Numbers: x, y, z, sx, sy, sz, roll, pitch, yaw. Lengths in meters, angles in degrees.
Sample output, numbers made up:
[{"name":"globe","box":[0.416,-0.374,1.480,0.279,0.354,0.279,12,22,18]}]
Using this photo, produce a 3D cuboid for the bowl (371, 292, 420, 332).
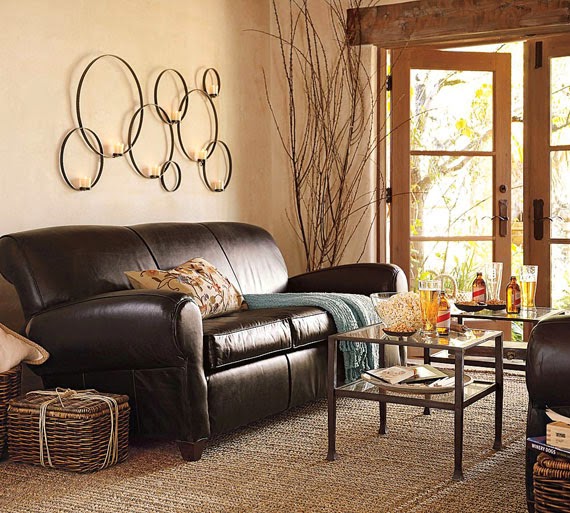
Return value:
[{"name":"bowl","box":[0.441,0.212,1.999,0.151,0.101,0.148,-3,3,0]}]

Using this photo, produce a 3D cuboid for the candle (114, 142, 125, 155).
[{"name":"candle","box":[-0.984,-0.654,3.069,0.067,0.089,0.066,1,8,-4]}]

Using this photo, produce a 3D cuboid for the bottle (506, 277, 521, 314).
[{"name":"bottle","box":[1.122,0.186,2.498,0.068,0.176,0.156,-2,-2,24]}]

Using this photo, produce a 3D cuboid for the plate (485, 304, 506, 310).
[{"name":"plate","box":[1.044,0.246,2.508,0.099,0.038,0.046,-1,-2,2]}]

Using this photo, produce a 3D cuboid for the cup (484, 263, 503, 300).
[{"name":"cup","box":[1.075,0.130,2.626,0.080,0.191,0.183,-2,-2,21]}]

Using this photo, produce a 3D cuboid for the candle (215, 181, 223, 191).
[{"name":"candle","box":[-0.501,-0.537,3.881,0.042,0.075,0.101,-1,-2,19]}]

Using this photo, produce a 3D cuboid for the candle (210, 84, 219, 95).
[{"name":"candle","box":[-0.523,-1.246,3.796,0.070,0.074,0.072,2,6,33]}]

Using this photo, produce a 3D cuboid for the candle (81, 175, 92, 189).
[{"name":"candle","box":[-1.118,-0.418,2.837,0.063,0.081,0.061,-1,2,-37]}]

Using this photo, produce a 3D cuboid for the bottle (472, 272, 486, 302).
[{"name":"bottle","box":[1.008,0.159,2.627,0.065,0.154,0.192,-2,-2,21]}]

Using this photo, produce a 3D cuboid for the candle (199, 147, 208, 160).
[{"name":"candle","box":[-0.583,-0.759,3.713,0.081,0.091,0.081,1,10,1]}]

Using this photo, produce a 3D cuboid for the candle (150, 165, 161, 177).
[{"name":"candle","box":[-0.832,-0.550,3.274,0.073,0.090,0.072,-1,2,-35]}]

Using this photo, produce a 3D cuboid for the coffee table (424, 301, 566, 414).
[{"name":"coffee table","box":[0.853,0.425,2.109,0.632,0.325,0.359,-1,0,40]}]

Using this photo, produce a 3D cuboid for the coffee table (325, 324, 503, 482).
[{"name":"coffee table","box":[0.525,0.468,2.026,0.563,0.504,0.595,-2,-4,31]}]
